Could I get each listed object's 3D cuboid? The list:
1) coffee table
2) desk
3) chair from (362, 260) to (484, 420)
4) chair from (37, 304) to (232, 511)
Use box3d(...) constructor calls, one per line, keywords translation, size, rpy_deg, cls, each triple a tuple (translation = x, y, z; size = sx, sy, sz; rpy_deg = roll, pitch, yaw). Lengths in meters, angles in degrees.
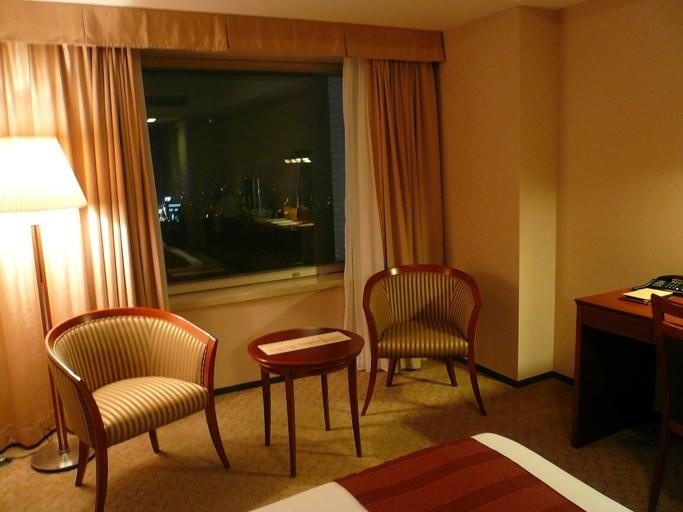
box3d(translation=(-0.193, 0.961, 3.787), size=(0.692, 0.814, 0.714), rpy_deg=(-8, 11, -18), cls="coffee table")
box3d(translation=(1.774, 0.678, 3.467), size=(0.427, 0.819, 0.797), rpy_deg=(-6, 11, -17), cls="desk")
box3d(translation=(0.644, 0.625, 4.262), size=(0.845, 1.088, 0.740), rpy_deg=(-1, 6, 12), cls="chair")
box3d(translation=(-1.280, 0.725, 3.738), size=(1.004, 1.399, 1.170), rpy_deg=(2, 5, 45), cls="chair")
